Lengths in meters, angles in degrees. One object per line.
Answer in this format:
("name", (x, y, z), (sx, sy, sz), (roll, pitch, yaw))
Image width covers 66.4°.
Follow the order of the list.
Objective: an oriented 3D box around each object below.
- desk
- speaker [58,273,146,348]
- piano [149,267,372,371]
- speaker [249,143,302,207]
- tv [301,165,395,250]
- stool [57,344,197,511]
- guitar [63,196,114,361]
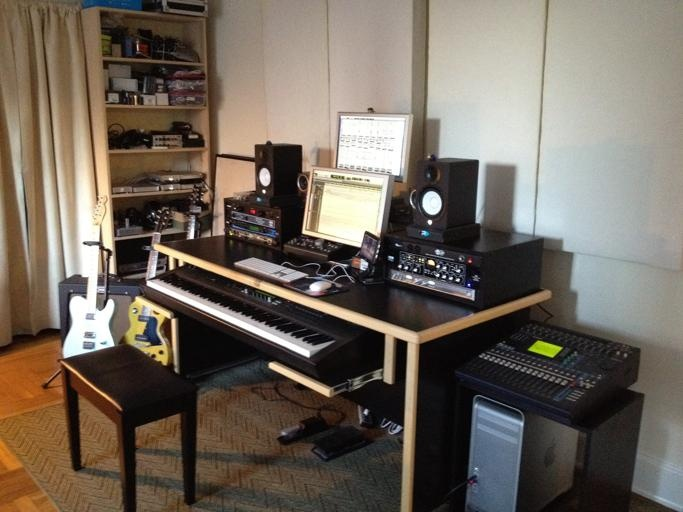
("desk", (-0.094, 0.442, 2.852), (1.975, 0.858, 0.906), (15, 21, 42))
("speaker", (-1.517, 0.362, 3.318), (0.497, 0.450, 0.218), (6, 9, 28))
("piano", (-0.353, 0.280, 2.356), (1.306, 0.088, 0.300), (17, 33, 42))
("speaker", (-0.364, -0.485, 3.020), (0.269, 0.332, 0.290), (-1, 16, -7))
("tv", (0.036, -0.237, 2.677), (0.419, 0.266, 0.147), (16, 27, 41))
("stool", (-1.011, 0.848, 2.454), (0.337, 0.544, 0.573), (-11, 24, -39))
("guitar", (-1.611, 0.138, 3.279), (0.324, 0.957, 0.536), (-5, 17, -23))
